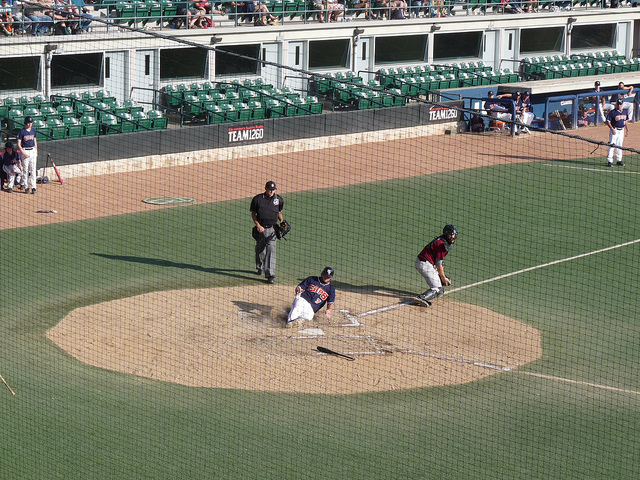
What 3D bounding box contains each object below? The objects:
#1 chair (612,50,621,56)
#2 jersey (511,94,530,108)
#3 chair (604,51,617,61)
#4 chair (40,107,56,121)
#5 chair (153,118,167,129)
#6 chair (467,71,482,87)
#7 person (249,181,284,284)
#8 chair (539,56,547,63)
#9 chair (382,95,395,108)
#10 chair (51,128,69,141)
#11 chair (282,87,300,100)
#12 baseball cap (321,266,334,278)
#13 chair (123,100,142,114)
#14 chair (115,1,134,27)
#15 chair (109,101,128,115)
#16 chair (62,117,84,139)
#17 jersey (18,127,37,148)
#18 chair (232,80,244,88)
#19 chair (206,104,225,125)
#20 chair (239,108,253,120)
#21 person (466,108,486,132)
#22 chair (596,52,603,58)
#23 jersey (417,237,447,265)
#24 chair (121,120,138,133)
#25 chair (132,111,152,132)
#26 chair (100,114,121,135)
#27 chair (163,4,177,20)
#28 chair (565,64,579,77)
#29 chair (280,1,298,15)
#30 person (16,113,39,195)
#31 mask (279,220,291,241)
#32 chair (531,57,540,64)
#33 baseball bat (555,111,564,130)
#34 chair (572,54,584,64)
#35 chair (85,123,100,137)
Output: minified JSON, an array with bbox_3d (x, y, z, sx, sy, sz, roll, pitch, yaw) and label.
[{"bbox_3d":[12.713,-8.026,58.426,0.255,0.234,0.661,-4,23,2],"label":"chair"},{"bbox_3d":[6.676,-4.610,45.244,0.435,0.520,0.509,2,1,42],"label":"jersey"},{"bbox_3d":[12.281,-7.810,57.415,0.525,0.310,0.923,3,11,10],"label":"chair"},{"bbox_3d":[-7.786,-3.657,38.878,0.475,0.487,0.400,5,21,8],"label":"chair"},{"bbox_3d":[-4.681,-3.444,39.982,0.342,0.225,0.322,1,1,-12],"label":"chair"},{"bbox_3d":[5.836,-6.046,51.342,0.458,0.557,0.614,-6,19,-23],"label":"chair"},{"bbox_3d":[-1.192,-0.163,30.255,0.586,2.266,0.328,5,12,17],"label":"person"},{"bbox_3d":[9.025,-7.330,55.009,0.238,0.266,0.314,3,-3,-3],"label":"chair"},{"bbox_3d":[2.322,-4.684,45.619,0.358,0.321,0.698,2,11,8],"label":"chair"},{"bbox_3d":[-7.213,-2.980,37.807,0.252,0.299,0.516,5,11,20],"label":"chair"},{"bbox_3d":[-0.964,-4.858,44.998,0.706,0.304,0.885,2,5,0],"label":"chair"},{"bbox_3d":[0.160,0.674,28.063,0.234,0.248,0.415,0,11,-2],"label":"baseball cap"},{"bbox_3d":[-5.608,-4.005,40.782,0.526,0.486,0.528,6,14,19],"label":"chair"},{"bbox_3d":[-6.193,-7.241,43.445,0.804,0.941,0.735,2,6,-11],"label":"chair"},{"bbox_3d":[-6.003,-3.970,40.712,0.523,0.314,1.092,-1,10,-10],"label":"chair"},{"bbox_3d":[-6.960,-3.179,38.390,0.686,0.618,0.629,-3,9,-28],"label":"chair"},{"bbox_3d":[-7.608,-2.665,35.472,0.356,0.574,0.651,11,10,42],"label":"jersey"},{"bbox_3d":[-2.703,-5.221,45.252,0.292,0.186,0.439,2,4,28],"label":"chair"},{"bbox_3d":[-3.150,-3.712,41.285,0.764,0.658,0.626,1,20,-7],"label":"chair"},{"bbox_3d":[-2.269,-3.919,42.040,0.306,0.360,0.554,8,13,32],"label":"chair"},{"bbox_3d":[5.213,-3.856,45.085,0.605,0.523,0.771,2,11,6],"label":"person"},{"bbox_3d":[11.724,-7.794,57.287,0.226,0.289,0.291,-3,17,-9],"label":"chair"},{"bbox_3d":[2.477,0.263,29.743,0.539,0.303,0.553,-33,13,9],"label":"jersey"},{"bbox_3d":[-5.520,-3.288,39.334,0.465,0.311,0.314,5,0,-44],"label":"chair"},{"bbox_3d":[-5.239,-3.513,40.074,0.613,0.689,0.628,-1,3,-30],"label":"chair"},{"bbox_3d":[-6.015,-3.342,39.335,0.552,0.458,0.872,-1,11,-9],"label":"chair"},{"bbox_3d":[-4.857,-7.448,44.350,0.453,0.492,1.134,0,11,-7],"label":"chair"},{"bbox_3d":[10.065,-6.794,54.366,0.545,0.605,0.637,0,3,-4],"label":"chair"},{"bbox_3d":[-1.062,-8.183,47.840,0.414,0.518,0.498,2,31,-3],"label":"chair"},{"bbox_3d":[-7.613,-2.196,35.487,0.465,2.019,0.428,-3,12,-17],"label":"person"},{"bbox_3d":[-0.742,-0.238,30.426,0.276,0.346,0.156,29,19,28],"label":"mask"},{"bbox_3d":[8.694,-7.243,54.675,0.302,0.307,0.235,4,13,34],"label":"chair"},{"bbox_3d":[8.157,-4.078,46.327,0.101,0.846,0.099,-24,3,5],"label":"baseball bat"},{"bbox_3d":[10.696,-7.485,56.292,0.431,0.141,0.297,10,5,-4],"label":"chair"},{"bbox_3d":[-6.451,-3.142,38.615,0.415,0.282,0.368,3,31,-8],"label":"chair"}]
